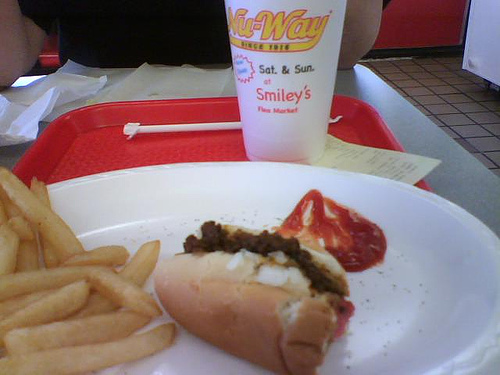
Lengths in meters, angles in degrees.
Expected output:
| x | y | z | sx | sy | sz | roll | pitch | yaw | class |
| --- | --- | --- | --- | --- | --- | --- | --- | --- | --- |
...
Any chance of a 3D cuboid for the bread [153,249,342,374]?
| x | y | z | sx | sy | sz | roll | pitch | yaw | class |
| --- | --- | --- | --- | --- | --- | --- | --- | --- | --- |
| -0.005 | 0.279 | 1.001 | 0.365 | 0.164 | 0.269 | 17 | 34 | 18 | bread |
